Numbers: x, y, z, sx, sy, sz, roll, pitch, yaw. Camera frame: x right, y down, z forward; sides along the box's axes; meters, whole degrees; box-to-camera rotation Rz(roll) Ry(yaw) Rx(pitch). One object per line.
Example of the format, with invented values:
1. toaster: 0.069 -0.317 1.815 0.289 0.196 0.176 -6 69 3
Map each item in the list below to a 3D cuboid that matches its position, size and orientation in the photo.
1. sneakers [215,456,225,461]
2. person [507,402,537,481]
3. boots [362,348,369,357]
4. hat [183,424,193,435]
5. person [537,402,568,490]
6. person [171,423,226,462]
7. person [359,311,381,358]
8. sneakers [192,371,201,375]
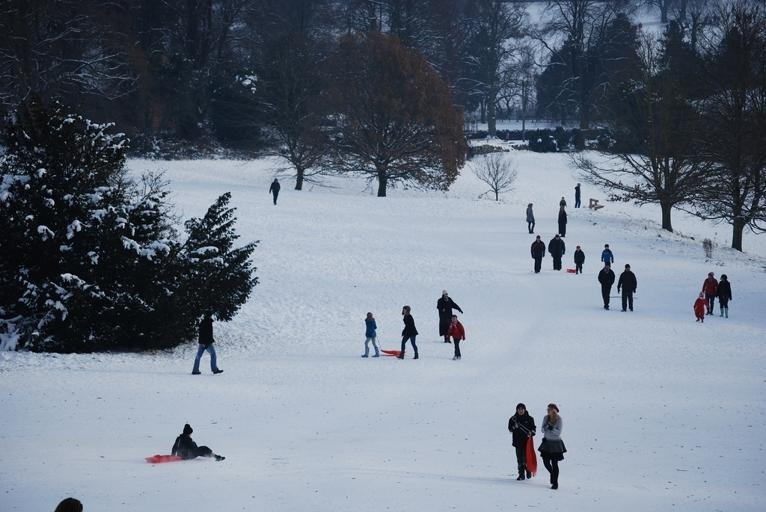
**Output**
1. sneakers: -6.958 8.634 60.492 0.453 0.183 0.189 2 11 -4
2. person: 5.988 7.990 60.690 1.249 3.117 0.889 6 11 19
3. boots: -0.869 4.743 68.759 0.223 0.419 0.430 3 21 -22
4. hat: -8.357 7.432 60.566 0.337 0.428 0.428 0 52 -1
5. person: 7.260 8.102 60.378 1.095 3.420 1.377 4 11 7
6. person: -8.082 7.976 60.488 1.946 1.448 0.625 1 11 -8
7. person: -0.564 3.755 68.914 0.841 2.181 1.414 2 11 -1
8. sneakers: -8.758 5.487 66.320 0.363 0.161 0.149 -1 0 -3
